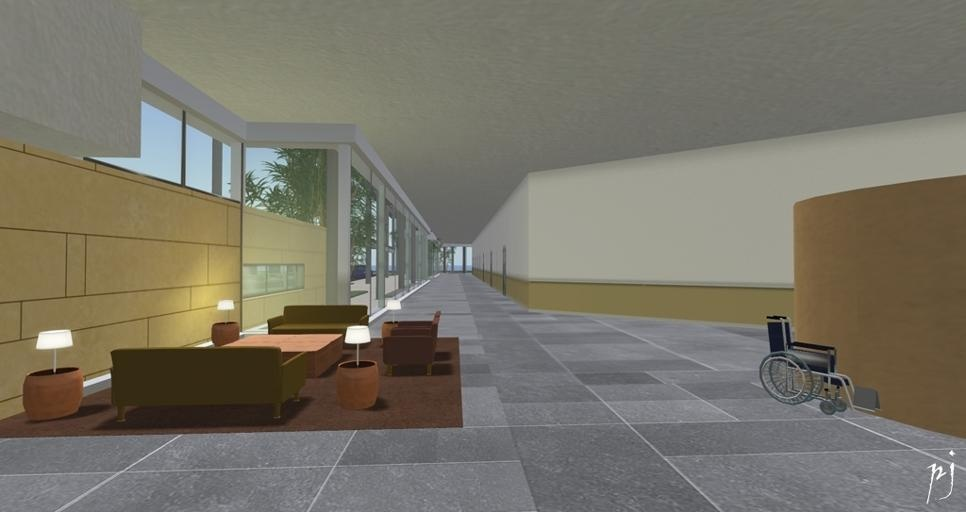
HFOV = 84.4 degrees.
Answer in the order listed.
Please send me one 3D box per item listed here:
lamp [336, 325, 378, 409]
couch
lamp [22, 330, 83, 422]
[{"bbox_3d":[-2.537,2.203,10.717,1.097,1.583,0.768,0,-1,-4],"label":"lamp"},{"bbox_3d":[-5.241,2.383,9.976,3.228,1.379,0.414,-2,-3,-2],"label":"couch"},{"bbox_3d":[-8.096,2.178,10.288,1.207,1.753,0.827,-3,-3,1],"label":"lamp"}]
